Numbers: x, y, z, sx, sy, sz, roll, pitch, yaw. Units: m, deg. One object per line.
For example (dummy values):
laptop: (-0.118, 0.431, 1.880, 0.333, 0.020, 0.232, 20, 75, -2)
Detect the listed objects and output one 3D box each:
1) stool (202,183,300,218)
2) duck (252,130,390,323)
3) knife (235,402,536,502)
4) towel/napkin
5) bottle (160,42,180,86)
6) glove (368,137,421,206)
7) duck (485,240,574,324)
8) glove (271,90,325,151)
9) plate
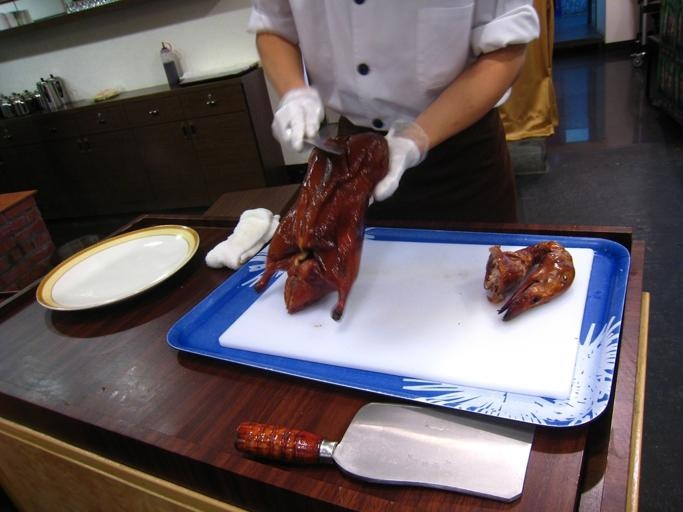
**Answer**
stool: (-0.440, -0.245, 2.377, 0.377, 0.098, 0.277, 4, 48, 20)
duck: (-0.028, -0.073, 1.178, 0.214, 0.141, 0.440, 14, 74, 8)
knife: (0.046, 0.316, 0.846, 0.512, 0.065, 0.183, 3, 39, 17)
towel/napkin: (-0.267, -0.051, 1.379, 0.133, 0.079, 0.226, 6, 37, 24)
bottle: (-1.359, -1.507, 3.923, 0.151, 0.325, 0.149, -9, 17, 3)
glove: (0.150, -0.198, 1.233, 0.120, 0.047, 0.171, -9, 54, 58)
duck: (0.402, 0.037, 1.048, 0.189, 0.085, 0.136, -29, 33, -19)
glove: (-0.111, -0.354, 1.200, 0.107, 0.055, 0.203, -6, 47, 7)
plate: (-0.596, 0.031, 1.342, 0.263, 0.043, 0.275, -14, 30, -17)
